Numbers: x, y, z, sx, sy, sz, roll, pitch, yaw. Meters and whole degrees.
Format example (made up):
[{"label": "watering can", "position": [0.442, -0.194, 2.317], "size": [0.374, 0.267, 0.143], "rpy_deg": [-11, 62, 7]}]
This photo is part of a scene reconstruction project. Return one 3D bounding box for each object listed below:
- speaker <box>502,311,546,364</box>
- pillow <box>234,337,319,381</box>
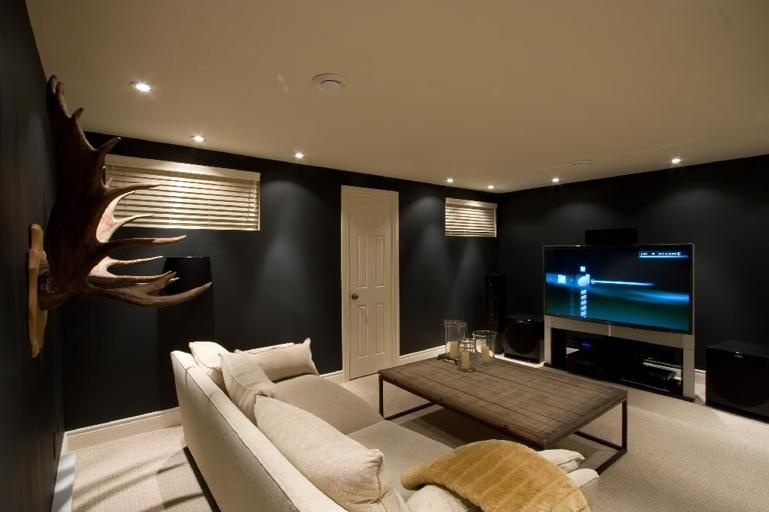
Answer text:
[{"label": "speaker", "position": [1.969, 1.144, 6.607], "size": [0.511, 0.540, 0.422], "rpy_deg": [3, 3, 28]}, {"label": "pillow", "position": [-0.952, 1.010, 4.452], "size": [0.607, 0.364, 0.198], "rpy_deg": [-5, -22, -38]}]
